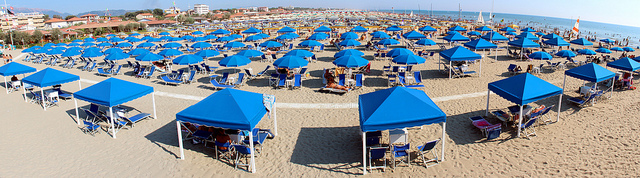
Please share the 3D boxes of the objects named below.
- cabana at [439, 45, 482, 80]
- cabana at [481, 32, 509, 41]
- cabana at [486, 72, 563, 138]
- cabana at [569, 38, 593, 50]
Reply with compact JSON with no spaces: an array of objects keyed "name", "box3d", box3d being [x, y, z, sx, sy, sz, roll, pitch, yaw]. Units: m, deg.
[{"name":"cabana","box3d":[45.566,-9.498,111.266,12.805,9.205,4.180,-2,32,5]},{"name":"cabana","box3d":[59.829,-17.908,116.891,5.535,1.572,4.828,-12,17,-31]},{"name":"cabana","box3d":[62.576,1.619,104.642,18.256,12.805,8.023,-8,31,-8]},{"name":"cabana","box3d":[90.643,-16.334,117.963,5.665,2.460,3.014,8,29,23]}]
